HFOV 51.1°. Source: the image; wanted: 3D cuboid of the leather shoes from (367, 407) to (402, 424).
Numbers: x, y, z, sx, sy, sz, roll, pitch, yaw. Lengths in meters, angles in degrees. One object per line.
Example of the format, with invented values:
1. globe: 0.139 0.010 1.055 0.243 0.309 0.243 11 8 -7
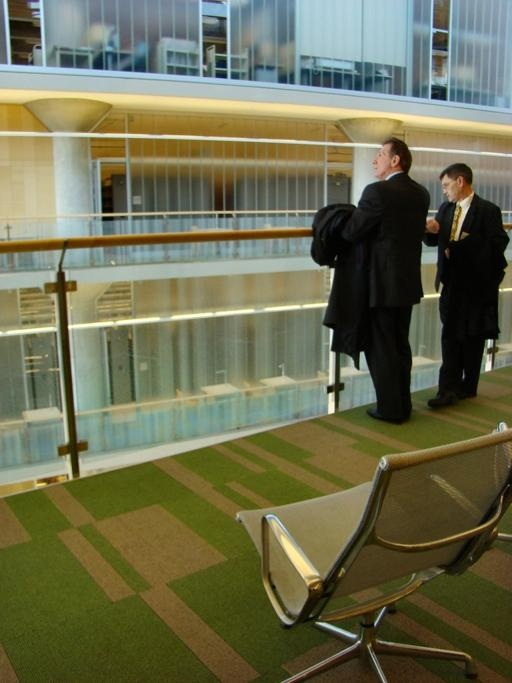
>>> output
1. leather shoes: 0.919 0.527 3.846 0.083 0.105 0.240 -1 19 -31

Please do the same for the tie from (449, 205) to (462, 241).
1. tie: 1.486 -0.875 3.969 0.073 0.255 0.017 1 8 12

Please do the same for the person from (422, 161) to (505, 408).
1. person: 1.594 -0.410 4.127 0.610 1.818 0.317 -1 8 -4

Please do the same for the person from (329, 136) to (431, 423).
1. person: 0.848 -0.372 3.595 0.709 1.927 0.369 -6 9 -34
